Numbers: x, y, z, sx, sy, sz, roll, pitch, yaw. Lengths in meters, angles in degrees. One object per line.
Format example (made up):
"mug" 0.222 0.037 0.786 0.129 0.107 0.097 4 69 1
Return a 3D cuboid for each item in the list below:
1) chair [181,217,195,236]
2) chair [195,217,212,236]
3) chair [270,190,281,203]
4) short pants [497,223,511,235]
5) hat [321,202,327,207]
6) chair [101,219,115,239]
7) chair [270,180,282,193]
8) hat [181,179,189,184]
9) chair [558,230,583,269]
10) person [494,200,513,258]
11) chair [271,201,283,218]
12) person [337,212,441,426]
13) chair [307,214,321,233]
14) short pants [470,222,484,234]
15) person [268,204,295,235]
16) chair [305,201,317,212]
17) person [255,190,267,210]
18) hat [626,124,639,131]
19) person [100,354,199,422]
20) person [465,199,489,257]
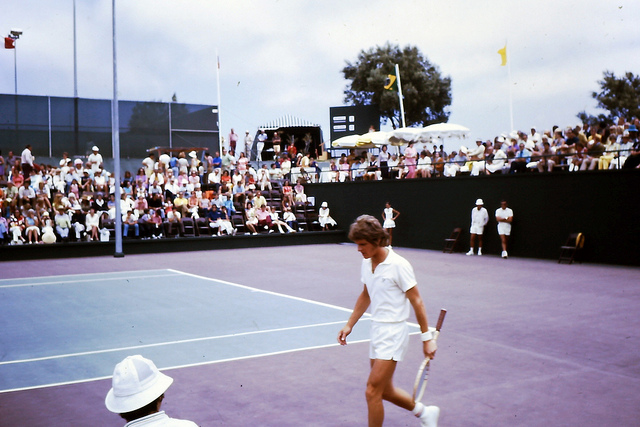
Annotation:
"chair" -5.772 0.596 29.028 0.551 1.046 0.727 -2 13 -12
"chair" -5.180 0.601 29.337 0.556 1.109 0.756 1 -6 -25
"chair" -2.234 -0.866 33.106 0.498 0.768 0.528 0 -1 -21
"short pants" 6.772 0.548 24.239 0.450 0.424 0.322 2 7 14
"hat" 0.239 -0.446 32.753 0.263 0.278 0.727 0 7 -2
"chair" -8.858 0.477 27.694 0.418 0.822 0.449 2 -5 -43
"chair" -2.309 -1.434 34.254 0.549 0.967 0.657 -1 -3 -20
"hat" -6.239 -1.492 30.671 0.268 0.204 0.427 -1 7 -3
"chair" 8.385 1.124 22.122 0.753 1.092 1.208 3 8 21
"person" 6.789 0.539 24.186 0.590 2.075 0.760 0 7 0
"chair" -2.056 -0.337 32.107 0.399 0.755 0.539 0 -4 -10
"person" 0.981 1.548 9.154 1.148 2.986 0.690 0 7 4
"chair" -0.354 0.406 32.730 0.564 1.046 0.736 0 1 -21
"short pants" 5.915 0.599 25.034 0.316 0.566 0.540 8 -8 -42
"person" -1.897 0.275 30.918 0.687 1.065 1.626 -11 19 -32
"chair" -0.431 -0.335 33.520 0.542 0.514 0.773 1 7 7
"person" -2.815 -0.647 30.907 0.667 0.948 0.653 -4 0 -10
"hat" 10.161 -2.790 21.479 0.373 0.179 0.387 3 -1 -21
"person" -2.052 2.107 7.553 0.726 0.619 1.023 -21 6 -5
"person" 6.012 0.501 25.222 0.778 2.187 1.304 1 7 13
